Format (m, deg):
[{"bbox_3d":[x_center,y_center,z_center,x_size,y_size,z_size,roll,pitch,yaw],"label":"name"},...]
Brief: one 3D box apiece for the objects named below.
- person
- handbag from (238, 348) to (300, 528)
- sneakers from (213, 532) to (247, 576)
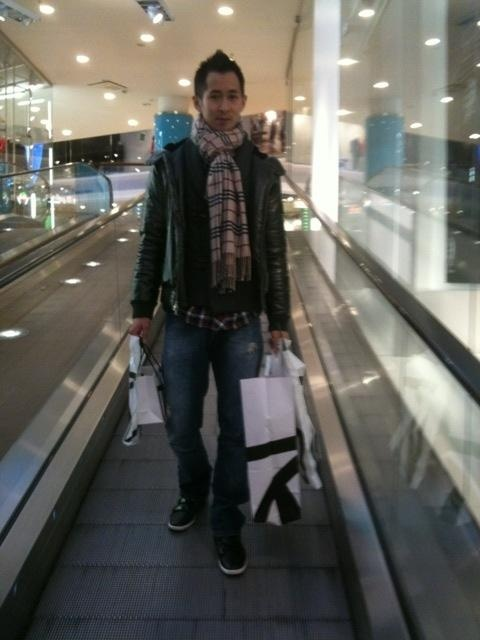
[{"bbox_3d":[-0.101,-0.061,1.481,0.502,1.692,0.360,4,7,27],"label":"person"},{"bbox_3d":[0.096,0.380,1.317,0.152,0.532,0.068,-4,5,0],"label":"handbag"},{"bbox_3d":[-0.028,0.752,1.350,0.049,0.069,0.151,1,-9,-6],"label":"sneakers"}]
